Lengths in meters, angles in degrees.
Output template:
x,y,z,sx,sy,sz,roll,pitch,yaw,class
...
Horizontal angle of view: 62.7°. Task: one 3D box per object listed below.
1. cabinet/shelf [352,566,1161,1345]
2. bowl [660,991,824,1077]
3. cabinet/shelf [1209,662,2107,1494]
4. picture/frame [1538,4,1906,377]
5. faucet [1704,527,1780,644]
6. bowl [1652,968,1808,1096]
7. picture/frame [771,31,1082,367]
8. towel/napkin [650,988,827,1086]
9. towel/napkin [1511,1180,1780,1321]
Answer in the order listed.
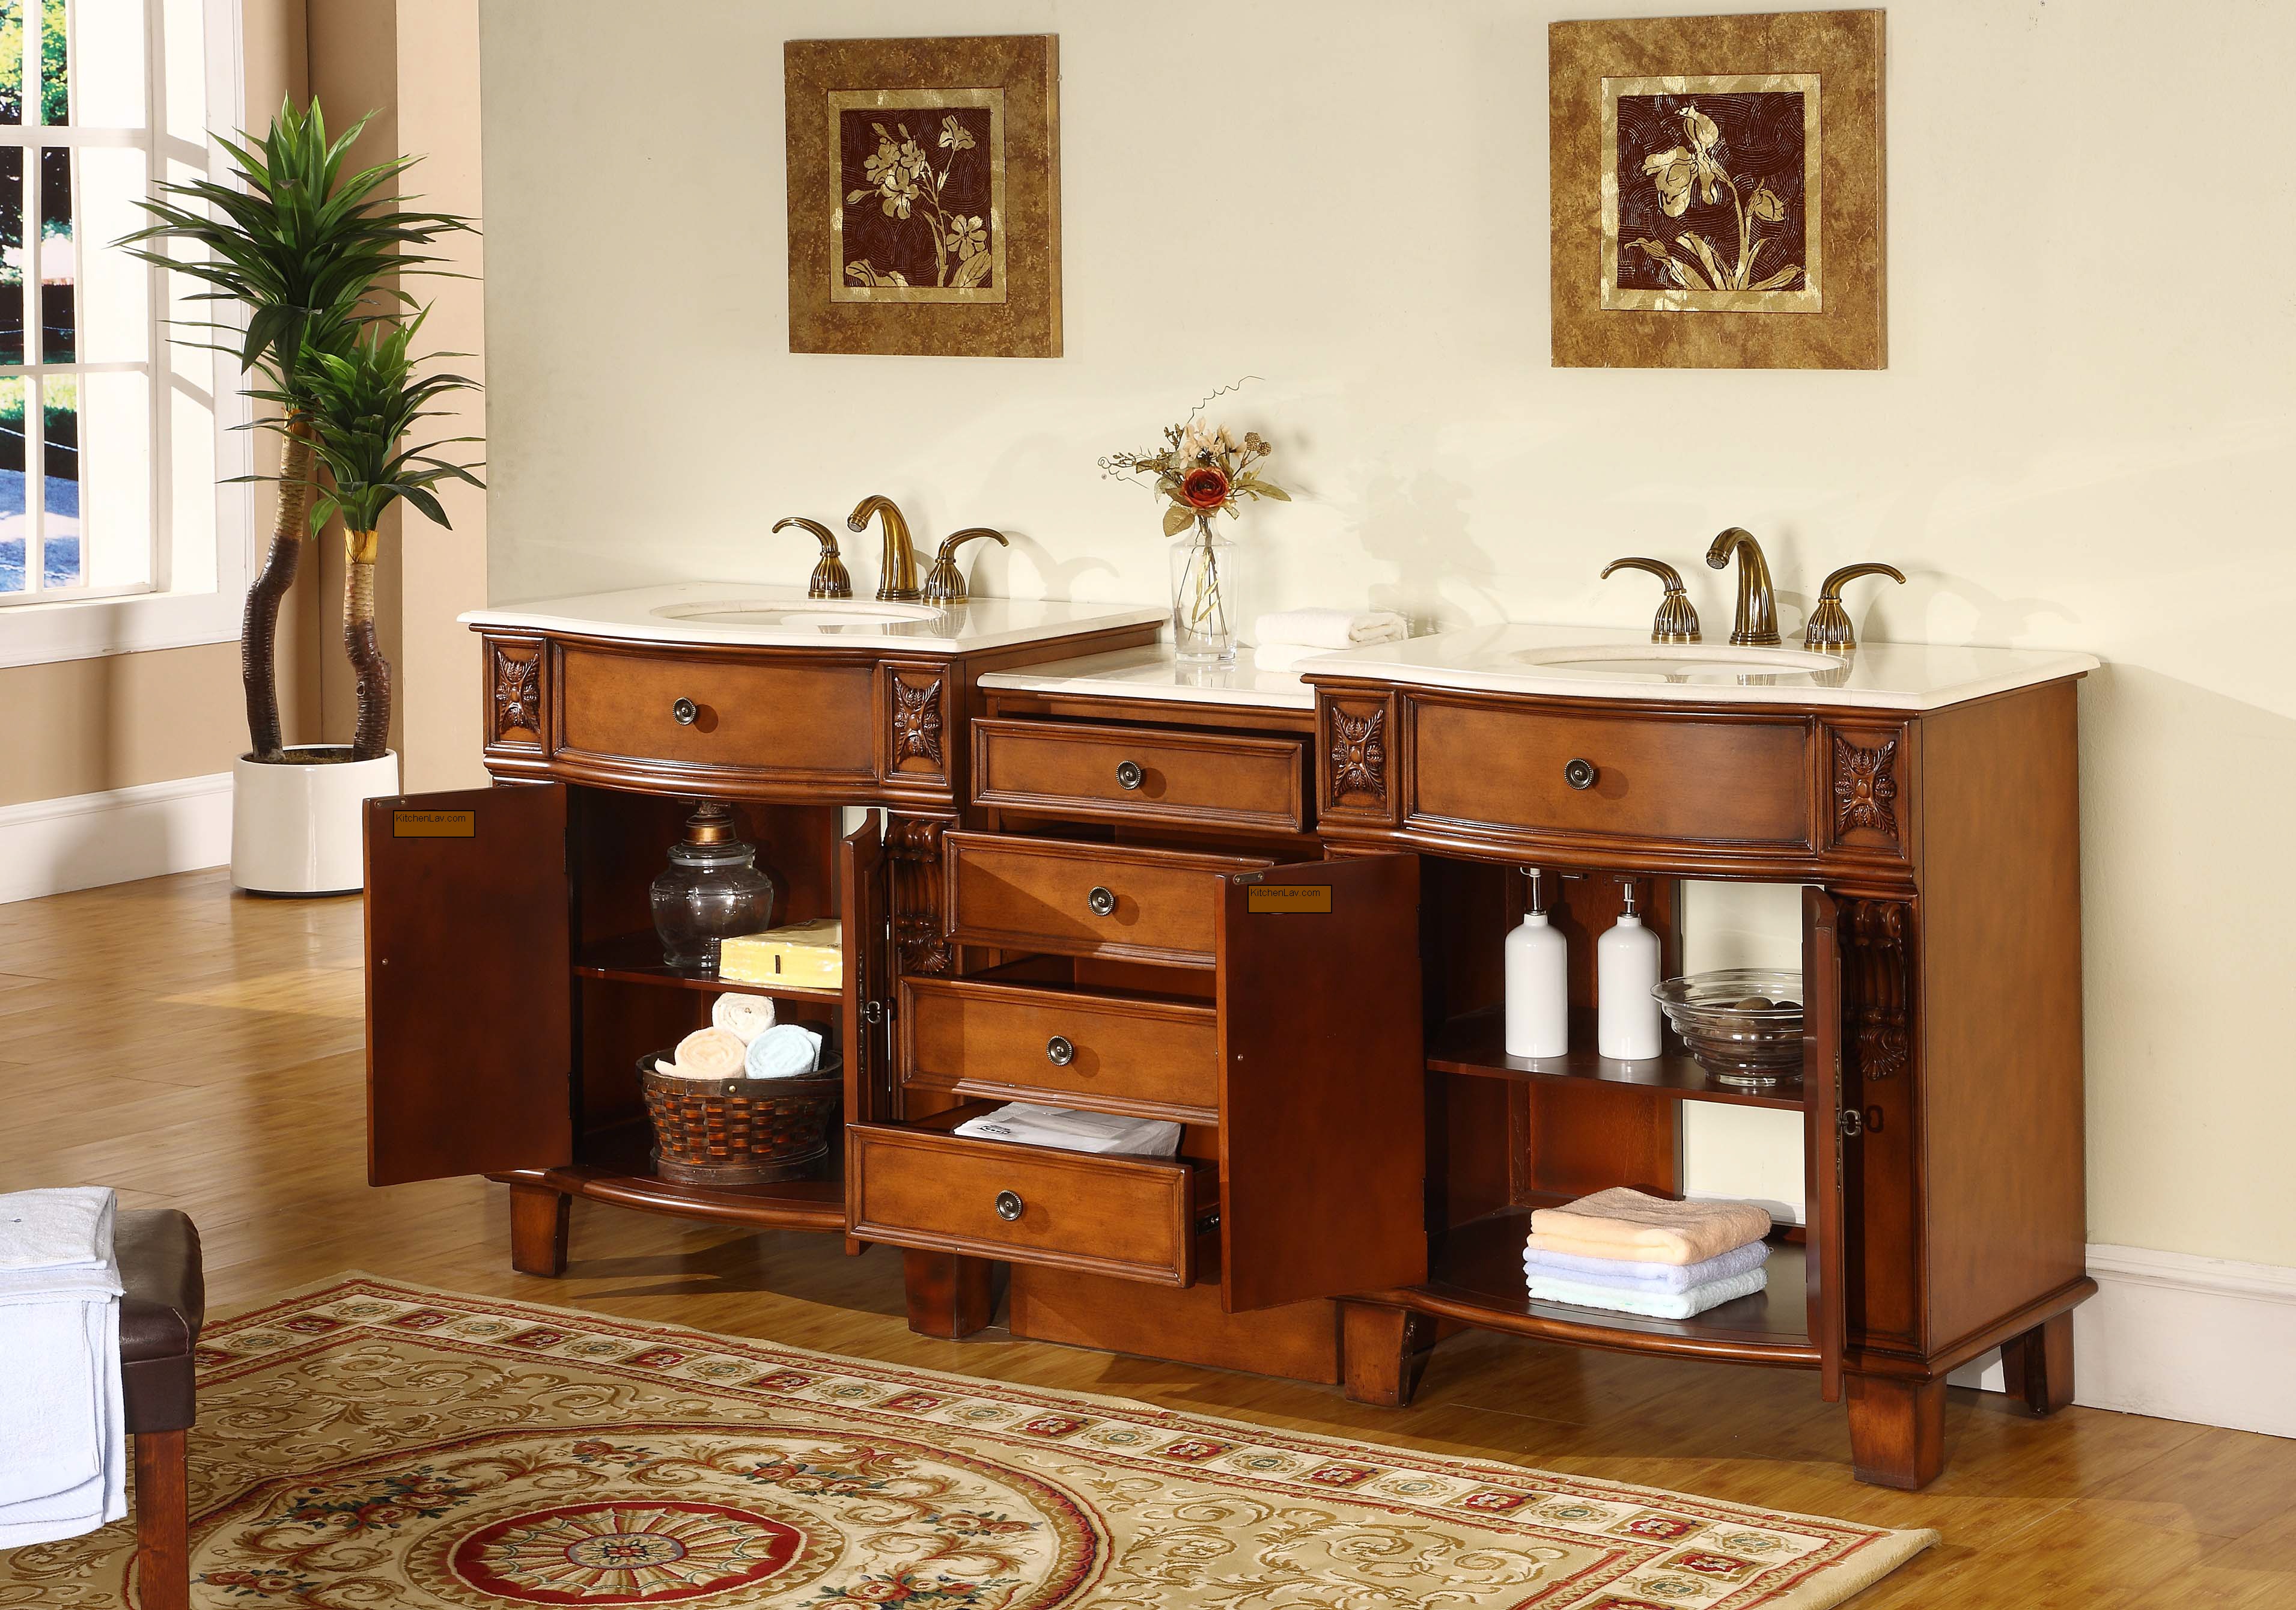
x,y,z,sx,sy,sz,roll,pitch,yaw,class
-0.731,0.159,3.916,1.340,1.344,1.516,3,6,28,cabinet/shelf
-0.777,0.405,3.557,0.200,0.080,0.213,0,10,0,bowl
0.642,0.196,3.180,1.590,1.439,1.174,2,6,35,cabinet/shelf
0.971,-1.027,3.101,0.725,0.642,0.060,2,5,27,picture/frame
0.978,-0.362,3.077,0.115,0.206,0.169,2,4,17,faucet
0.888,0.337,2.866,0.190,0.089,0.179,1,6,0,bowl
-0.422,-1.224,3.745,0.771,0.682,0.058,2,6,24,picture/frame
-0.773,0.458,3.579,0.188,0.074,0.230,-1,9,-2,towel/napkin
0.745,0.685,2.876,0.216,0.088,0.214,1,3,33,towel/napkin
